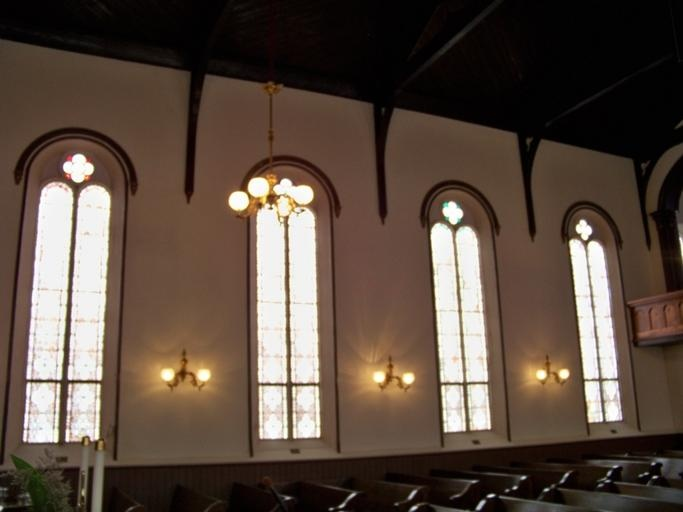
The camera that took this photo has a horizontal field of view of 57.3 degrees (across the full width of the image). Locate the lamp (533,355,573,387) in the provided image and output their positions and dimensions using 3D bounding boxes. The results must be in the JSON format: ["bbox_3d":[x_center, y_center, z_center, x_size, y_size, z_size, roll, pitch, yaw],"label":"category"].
[{"bbox_3d":[4.906,2.623,14.431,1.035,0.682,0.301,6,-17,-35],"label":"lamp"}]

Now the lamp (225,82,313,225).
[{"bbox_3d":[-1.126,-1.745,10.140,1.269,2.247,1.267,0,-3,-25],"label":"lamp"}]

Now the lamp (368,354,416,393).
[{"bbox_3d":[1.033,2.419,12.885,0.731,0.691,0.391,2,-8,-1],"label":"lamp"}]

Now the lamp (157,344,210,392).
[{"bbox_3d":[-2.920,2.089,11.620,0.850,0.794,0.348,5,-19,-27],"label":"lamp"}]
